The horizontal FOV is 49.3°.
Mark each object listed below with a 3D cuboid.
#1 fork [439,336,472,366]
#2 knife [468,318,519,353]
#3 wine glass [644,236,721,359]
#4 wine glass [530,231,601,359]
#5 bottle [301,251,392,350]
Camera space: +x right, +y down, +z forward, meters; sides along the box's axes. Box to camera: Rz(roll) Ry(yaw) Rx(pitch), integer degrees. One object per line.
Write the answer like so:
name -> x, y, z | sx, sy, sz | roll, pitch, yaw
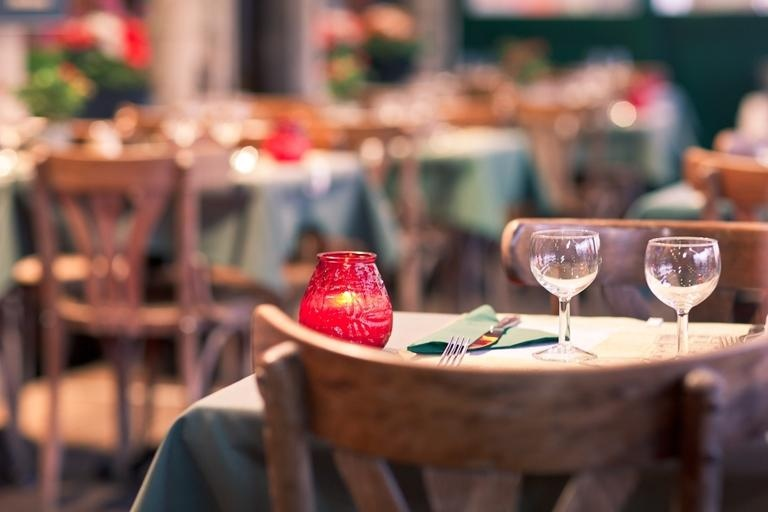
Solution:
fork -> 0.107, 0.150, 1.337 | 0.023, 0.011, 0.090 | 29, 14, 4
knife -> 0.190, 0.118, 1.439 | 0.035, 0.018, 0.200 | 13, 14, 15
wine glass -> 0.490, 0.051, 1.367 | 0.132, 0.168, 0.093 | -22, 26, -34
wine glass -> 0.309, 0.058, 1.409 | 0.117, 0.225, 0.286 | -2, 22, 11
bottle -> -0.068, 0.063, 1.374 | 0.146, 0.155, 0.146 | 2, 4, -7
